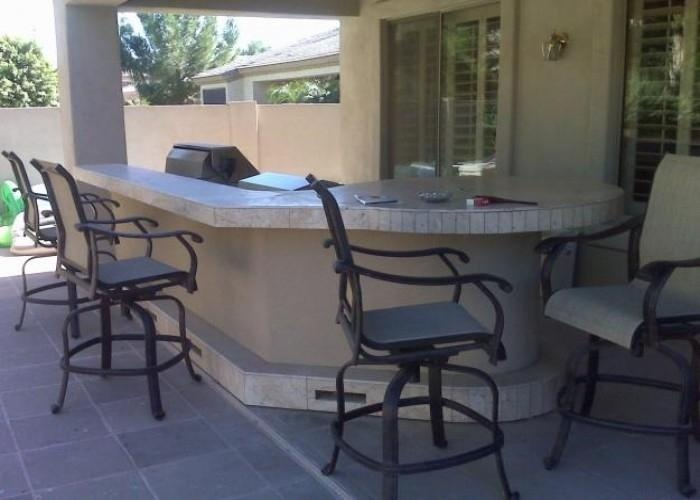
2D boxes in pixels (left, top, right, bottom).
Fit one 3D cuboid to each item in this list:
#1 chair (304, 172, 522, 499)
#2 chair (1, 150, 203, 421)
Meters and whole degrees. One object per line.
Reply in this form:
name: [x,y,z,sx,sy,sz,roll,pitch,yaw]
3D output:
chair: [0.338,0.243,3.356,1.421,2.047,1.224,-4,16,-9]
chair: [-1.709,0.276,4.074,1.363,1.758,1.584,-6,17,-29]
